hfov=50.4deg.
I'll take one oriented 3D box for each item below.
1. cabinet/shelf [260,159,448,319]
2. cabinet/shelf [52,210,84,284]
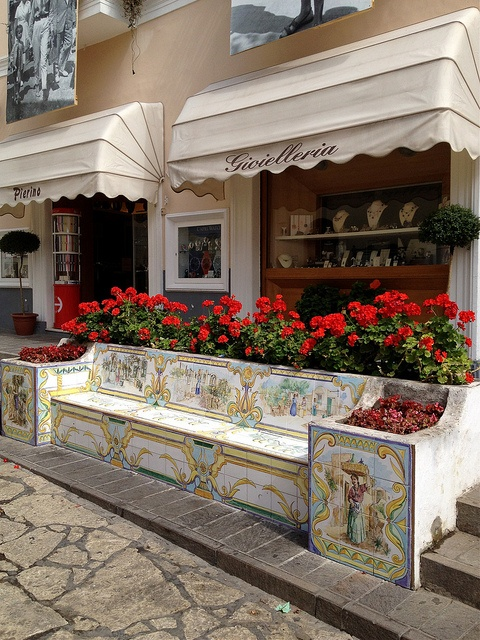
[{"bbox_3d":[1.464,-1.020,6.176,2.193,1.993,0.736,1,0,39],"label":"cabinet/shelf"},{"bbox_3d":[-3.687,-1.572,10.858,0.597,1.606,0.469,-5,5,-18],"label":"cabinet/shelf"}]
